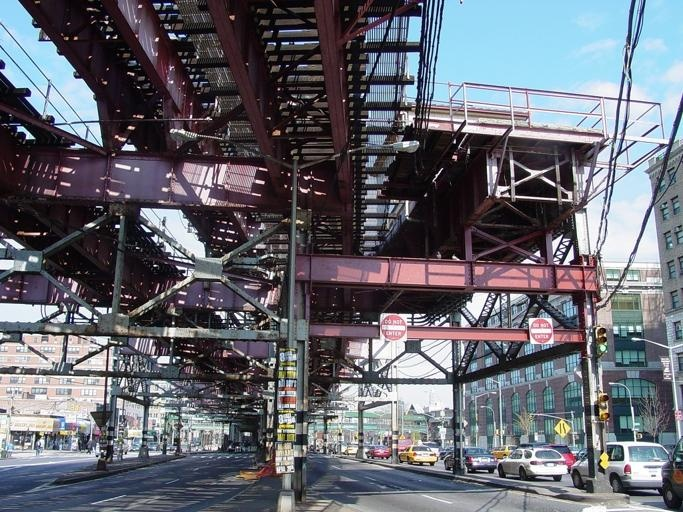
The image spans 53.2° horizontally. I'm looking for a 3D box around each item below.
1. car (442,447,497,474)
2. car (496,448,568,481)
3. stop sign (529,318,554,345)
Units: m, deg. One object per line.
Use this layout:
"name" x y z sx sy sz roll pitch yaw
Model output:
"car" 9.113 14.200 47.787 3.171 1.843 4.129 -1 -20 3
"car" 10.522 11.434 38.393 1.896 1.448 4.441 5 -15 -8
"stop sign" 8.663 3.154 29.623 1.049 1.205 0.711 -5 -19 15
